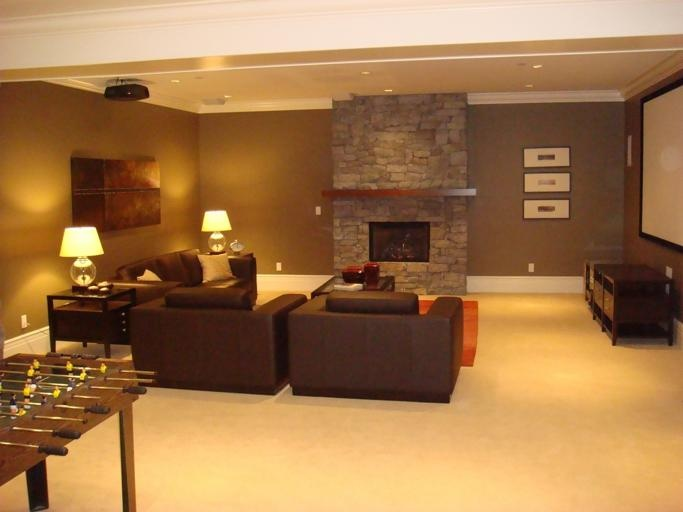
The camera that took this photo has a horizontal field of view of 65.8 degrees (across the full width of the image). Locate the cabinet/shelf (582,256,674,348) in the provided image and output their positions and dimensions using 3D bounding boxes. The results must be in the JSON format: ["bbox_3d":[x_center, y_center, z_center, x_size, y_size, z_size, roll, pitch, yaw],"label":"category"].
[{"bbox_3d":[3.453,0.569,6.262,0.756,0.740,1.007,0,10,7],"label":"cabinet/shelf"}]

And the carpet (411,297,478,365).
[{"bbox_3d":[1.366,0.836,6.613,0.710,0.028,1.965,12,19,14],"label":"carpet"}]

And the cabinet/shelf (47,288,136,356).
[{"bbox_3d":[-2.819,0.735,5.903,0.842,0.708,0.710,1,11,9],"label":"cabinet/shelf"}]

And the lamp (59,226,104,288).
[{"bbox_3d":[-2.922,0.006,5.981,0.394,0.691,0.660,-5,11,-19],"label":"lamp"}]

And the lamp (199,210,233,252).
[{"bbox_3d":[-2.021,-0.365,8.476,0.524,0.674,0.525,-5,-2,41],"label":"lamp"}]

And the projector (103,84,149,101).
[{"bbox_3d":[-2.447,-1.886,6.030,0.411,0.207,0.378,-1,10,2],"label":"projector"}]
